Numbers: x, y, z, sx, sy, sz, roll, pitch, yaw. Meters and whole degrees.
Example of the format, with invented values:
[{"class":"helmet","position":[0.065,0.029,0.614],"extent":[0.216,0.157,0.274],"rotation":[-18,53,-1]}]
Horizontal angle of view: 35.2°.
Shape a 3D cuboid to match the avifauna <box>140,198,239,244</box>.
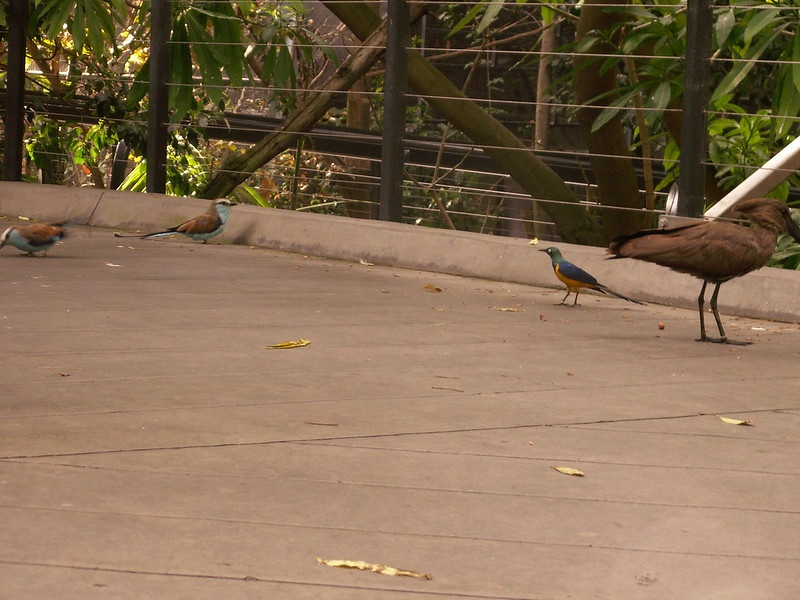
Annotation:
[{"class":"avifauna","position":[-1.250,-0.484,7.596],"extent":[0.273,0.248,0.405],"rotation":[5,5,30]}]
